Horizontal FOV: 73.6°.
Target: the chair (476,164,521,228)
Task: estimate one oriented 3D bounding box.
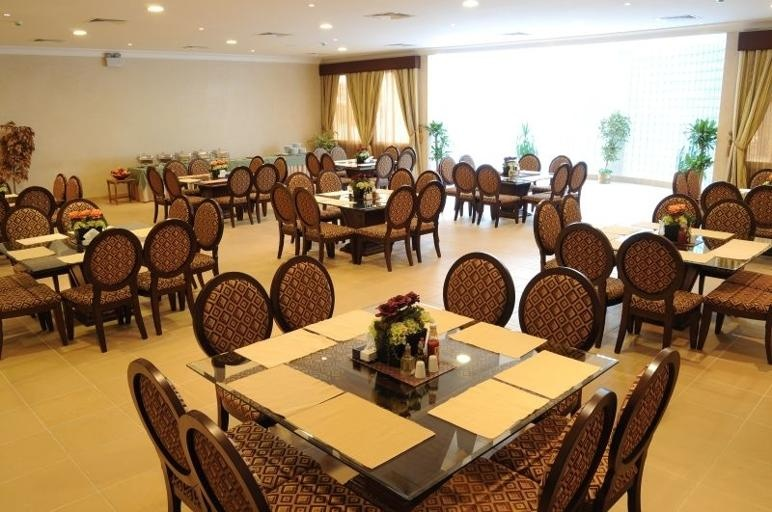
[{"bbox_3d":[2.022,-1.061,9.190,0.680,1.211,0.702,19,32,40],"label":"chair"}]

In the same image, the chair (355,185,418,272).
[{"bbox_3d":[0.000,-0.366,7.129,0.751,1.393,0.742,21,26,39],"label":"chair"}]

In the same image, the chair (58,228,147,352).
[{"bbox_3d":[-2.795,0.286,5.056,0.832,1.176,0.603,10,19,40],"label":"chair"}]

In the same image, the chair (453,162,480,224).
[{"bbox_3d":[1.490,-1.186,9.424,0.514,1.046,0.363,8,17,34],"label":"chair"}]

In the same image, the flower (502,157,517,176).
[{"bbox_3d":[2.331,-1.661,9.557,0.274,0.402,0.376,4,9,31],"label":"flower"}]

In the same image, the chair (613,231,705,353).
[{"bbox_3d":[2.571,0.298,4.783,0.600,1.178,0.858,12,20,43],"label":"chair"}]

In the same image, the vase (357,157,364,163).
[{"bbox_3d":[-0.560,-2.168,11.649,0.126,0.100,0.129,0,3,-20],"label":"vase"}]

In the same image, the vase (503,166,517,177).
[{"bbox_3d":[2.308,-1.566,9.480,0.194,0.215,0.213,-8,22,-9],"label":"vase"}]

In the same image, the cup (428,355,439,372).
[{"bbox_3d":[0.286,0.644,3.118,0.078,0.087,0.079,-3,10,1],"label":"cup"}]

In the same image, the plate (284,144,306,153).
[{"bbox_3d":[-2.435,-2.825,13.612,0.415,0.302,0.453,4,11,20],"label":"plate"}]

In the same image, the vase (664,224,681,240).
[{"bbox_3d":[2.839,-0.244,5.100,0.133,0.152,0.139,5,16,26],"label":"vase"}]

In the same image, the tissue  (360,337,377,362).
[{"bbox_3d":[-0.088,0.582,3.199,0.112,0.029,0.122,-32,25,-20],"label":"tissue "}]

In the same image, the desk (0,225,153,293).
[{"bbox_3d":[-3.120,0.070,4.905,1.060,0.253,0.702,-21,37,-39],"label":"desk"}]

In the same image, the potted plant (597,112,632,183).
[{"bbox_3d":[5.630,-2.699,12.712,0.732,1.669,0.627,-1,14,5],"label":"potted plant"}]

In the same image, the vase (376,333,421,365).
[{"bbox_3d":[0.080,0.555,3.107,0.260,0.169,0.178,-14,18,-41],"label":"vase"}]

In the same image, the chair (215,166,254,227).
[{"bbox_3d":[-2.765,-1.120,9.470,0.662,1.047,0.835,-7,16,-20],"label":"chair"}]

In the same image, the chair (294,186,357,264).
[{"bbox_3d":[-0.941,-0.455,7.255,0.727,1.103,0.828,-11,17,-31],"label":"chair"}]

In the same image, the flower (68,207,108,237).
[{"bbox_3d":[-3.169,-0.303,5.485,0.312,0.272,0.350,34,41,33],"label":"flower"}]
